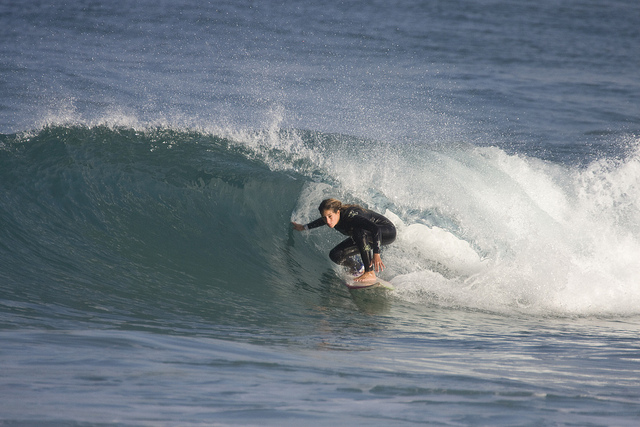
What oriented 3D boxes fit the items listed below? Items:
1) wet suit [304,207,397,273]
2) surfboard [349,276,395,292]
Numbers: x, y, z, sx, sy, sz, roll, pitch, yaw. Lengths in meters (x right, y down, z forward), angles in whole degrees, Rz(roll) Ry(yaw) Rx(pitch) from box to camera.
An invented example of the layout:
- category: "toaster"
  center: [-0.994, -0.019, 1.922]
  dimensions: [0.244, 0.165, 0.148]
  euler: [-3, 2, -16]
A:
- category: "wet suit"
  center: [0.462, 0.474, 18.043]
  dimensions: [2.462, 1.077, 1.329]
  euler: [-5, 91, -5]
- category: "surfboard"
  center: [1.036, 1.430, 17.849]
  dimensions: [1.267, 0.396, 0.175]
  euler: [10, 93, 40]
